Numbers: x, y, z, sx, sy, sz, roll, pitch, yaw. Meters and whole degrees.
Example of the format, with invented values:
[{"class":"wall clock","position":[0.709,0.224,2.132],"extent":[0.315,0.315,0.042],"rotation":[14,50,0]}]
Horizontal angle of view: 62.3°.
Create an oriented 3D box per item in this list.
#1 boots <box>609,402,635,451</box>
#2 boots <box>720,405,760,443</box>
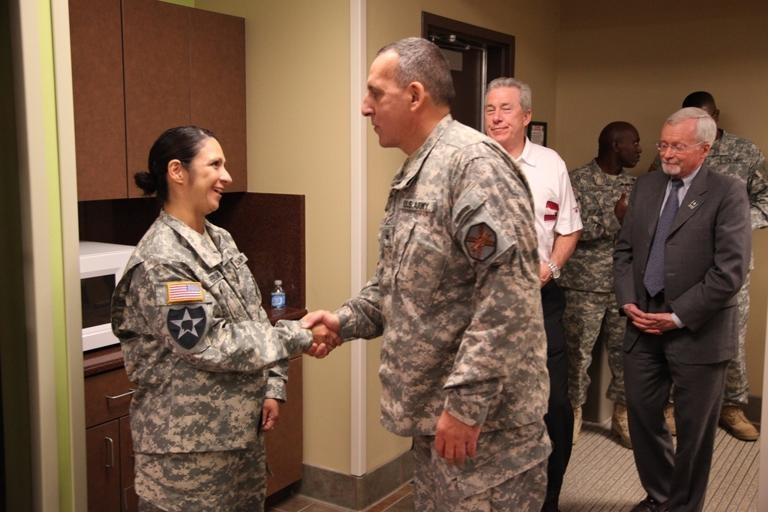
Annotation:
[{"class":"boots","position":[1.773,1.223,4.669],"extent":[0.121,0.282,0.298],"rotation":[-5,9,-8]},{"class":"boots","position":[2.614,1.218,4.703],"extent":[0.153,0.180,0.421],"rotation":[-6,4,-18]}]
